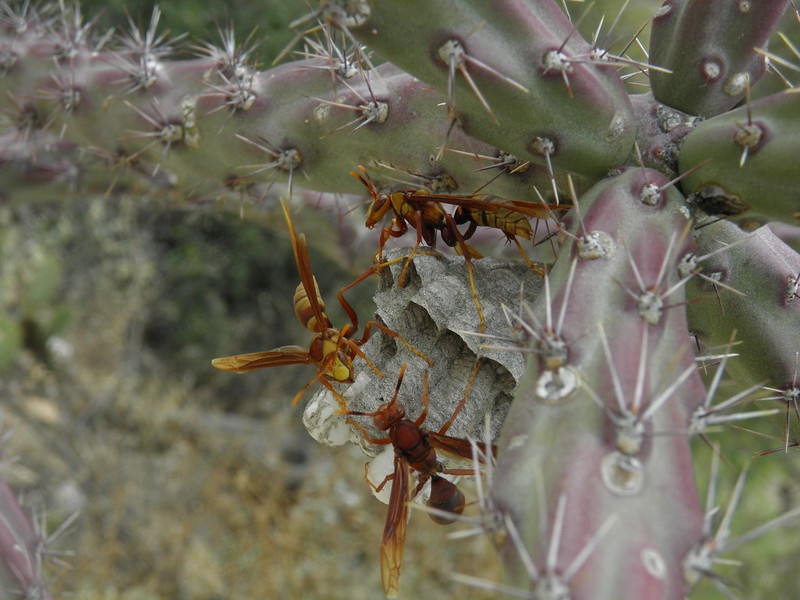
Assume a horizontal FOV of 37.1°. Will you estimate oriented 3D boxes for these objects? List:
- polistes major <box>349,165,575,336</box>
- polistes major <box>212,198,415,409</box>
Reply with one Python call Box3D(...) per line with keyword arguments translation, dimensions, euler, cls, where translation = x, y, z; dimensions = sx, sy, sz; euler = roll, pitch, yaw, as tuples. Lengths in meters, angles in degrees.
Box3D(translation=(0.155, -0.207, 3.590), dimensions=(0.569, 0.284, 0.461), euler=(11, 27, 28), cls="polistes major")
Box3D(translation=(-0.249, 0.151, 3.598), dimensions=(0.347, 0.211, 0.414), euler=(-42, 38, -5), cls="polistes major")
